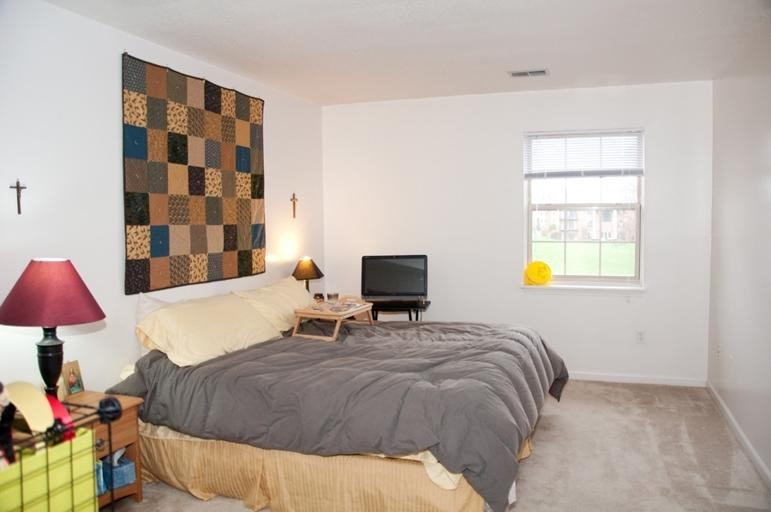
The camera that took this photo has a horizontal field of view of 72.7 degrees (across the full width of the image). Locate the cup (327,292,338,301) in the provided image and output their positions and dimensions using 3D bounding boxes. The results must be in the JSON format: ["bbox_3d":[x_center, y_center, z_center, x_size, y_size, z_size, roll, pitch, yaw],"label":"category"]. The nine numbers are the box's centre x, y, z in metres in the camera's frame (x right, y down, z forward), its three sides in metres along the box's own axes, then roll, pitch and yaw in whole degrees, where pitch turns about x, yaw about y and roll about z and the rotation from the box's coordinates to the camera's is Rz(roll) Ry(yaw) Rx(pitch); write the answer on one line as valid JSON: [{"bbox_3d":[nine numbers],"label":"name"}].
[{"bbox_3d":[-0.531,0.412,5.235,0.075,0.059,0.071,-1,-3,0],"label":"cup"}]

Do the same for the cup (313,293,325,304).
[{"bbox_3d":[-0.677,0.446,5.334,0.085,0.087,0.113,0,2,-10],"label":"cup"}]

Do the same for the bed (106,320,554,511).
[{"bbox_3d":[-0.225,0.978,3.741,1.865,0.472,1.641,0,0,19],"label":"bed"}]

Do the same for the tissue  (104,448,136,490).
[{"bbox_3d":[-1.838,1.510,3.638,0.229,0.229,0.321,0,-1,-40],"label":"tissue "}]

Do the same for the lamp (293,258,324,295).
[{"bbox_3d":[-0.862,0.215,5.735,0.337,0.501,0.352,1,5,39],"label":"lamp"}]
